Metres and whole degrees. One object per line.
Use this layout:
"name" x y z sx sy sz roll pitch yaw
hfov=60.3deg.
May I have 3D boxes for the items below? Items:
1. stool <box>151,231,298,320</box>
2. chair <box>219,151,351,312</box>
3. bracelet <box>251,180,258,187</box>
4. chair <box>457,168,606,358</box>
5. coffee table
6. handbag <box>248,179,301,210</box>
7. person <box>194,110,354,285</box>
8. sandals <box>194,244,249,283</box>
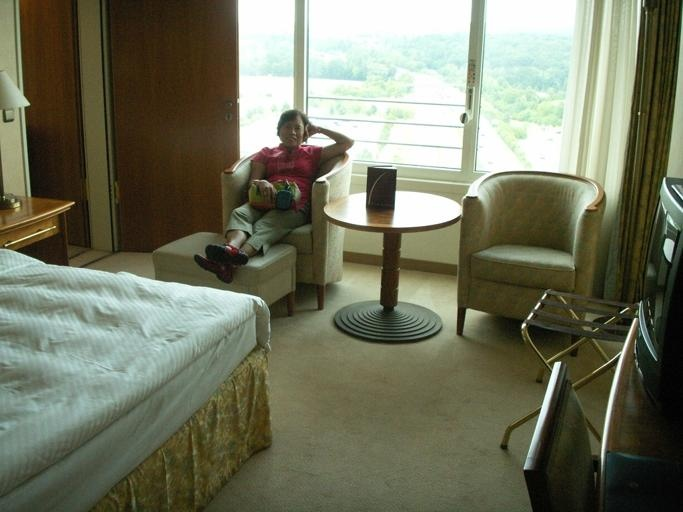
"stool" -0.648 0.060 3.766 0.692 0.472 0.490 12 24 24
"chair" -0.508 -0.316 4.452 0.908 1.235 1.048 5 18 15
"bracelet" -0.600 -0.505 4.050 0.038 0.043 0.054 -1 -3 4
"chair" 1.174 -0.067 4.025 0.944 1.221 1.019 5 15 24
"coffee table" 0.349 0.031 3.951 0.842 0.853 0.937 2 20 7
"handbag" -0.467 -0.413 3.993 0.225 0.108 0.231 3 24 1
"person" -0.445 -0.476 3.960 0.693 0.838 1.462 7 22 19
"sandals" -0.720 0.050 3.540 0.231 0.086 0.101 35 19 -5
